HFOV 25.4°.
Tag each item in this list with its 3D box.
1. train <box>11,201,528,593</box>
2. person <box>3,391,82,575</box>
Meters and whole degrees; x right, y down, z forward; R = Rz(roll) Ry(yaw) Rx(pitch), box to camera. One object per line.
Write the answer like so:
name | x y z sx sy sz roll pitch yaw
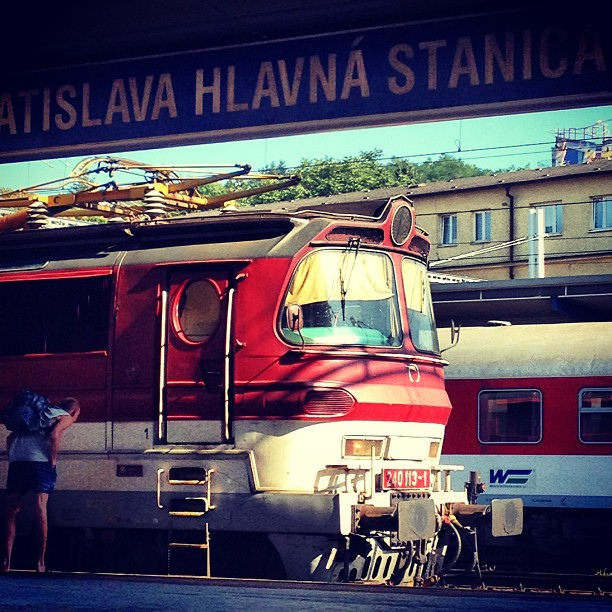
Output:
train | -1.230 1.141 16.429 3.800 4.324 9.702 -2 -1 -38
person | -2.598 1.690 13.400 0.712 1.728 1.378 3 -8 -10
